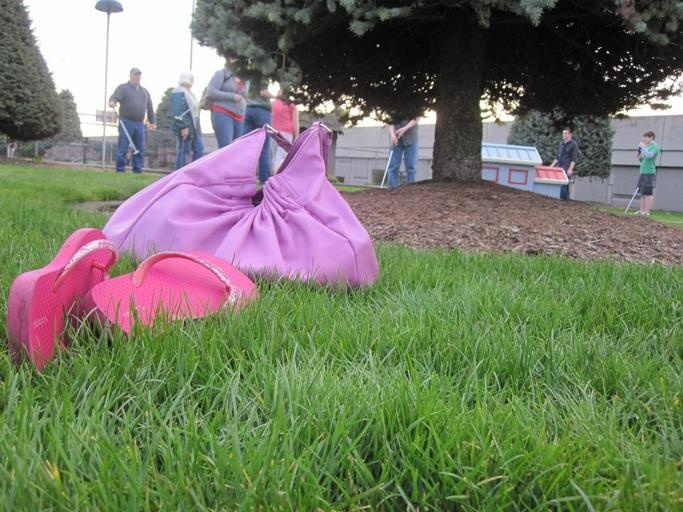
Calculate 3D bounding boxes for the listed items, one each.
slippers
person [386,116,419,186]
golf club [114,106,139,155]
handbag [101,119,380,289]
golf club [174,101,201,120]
[{"bbox_3d":[-0.627,0.091,1.768,0.376,0.350,0.801,12,14,41],"label":"slippers"},{"bbox_3d":[1.134,-1.897,10.027,0.539,1.249,1.750,4,11,5],"label":"person"},{"bbox_3d":[-4.652,-2.609,12.009,0.183,0.808,0.138,-12,38,17],"label":"golf club"},{"bbox_3d":[-0.438,-0.196,2.604,0.996,0.704,0.792,9,0,4],"label":"handbag"},{"bbox_3d":[-2.859,-2.684,10.078,0.330,0.217,0.218,-13,23,-30],"label":"golf club"}]
